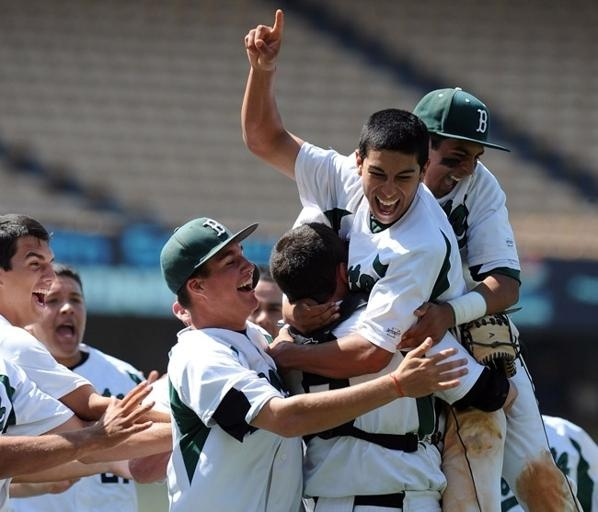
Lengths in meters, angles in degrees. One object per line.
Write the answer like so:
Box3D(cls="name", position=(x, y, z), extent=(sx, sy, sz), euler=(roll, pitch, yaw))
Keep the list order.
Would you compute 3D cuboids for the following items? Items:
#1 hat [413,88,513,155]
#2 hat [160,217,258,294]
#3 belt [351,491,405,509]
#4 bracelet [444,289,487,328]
Box3D(cls="hat", position=(0.923, -0.804, 7.214), extent=(0.471, 0.249, 0.314), euler=(24, 6, 27))
Box3D(cls="hat", position=(-0.515, -0.052, 6.984), extent=(0.501, 0.274, 0.321), euler=(-38, 2, 11))
Box3D(cls="belt", position=(0.423, 1.305, 6.717), extent=(0.276, 0.085, 0.022), euler=(-3, 5, 1))
Box3D(cls="bracelet", position=(0.911, 0.286, 6.921), extent=(0.202, 0.176, 0.152), euler=(-41, 18, -13))
